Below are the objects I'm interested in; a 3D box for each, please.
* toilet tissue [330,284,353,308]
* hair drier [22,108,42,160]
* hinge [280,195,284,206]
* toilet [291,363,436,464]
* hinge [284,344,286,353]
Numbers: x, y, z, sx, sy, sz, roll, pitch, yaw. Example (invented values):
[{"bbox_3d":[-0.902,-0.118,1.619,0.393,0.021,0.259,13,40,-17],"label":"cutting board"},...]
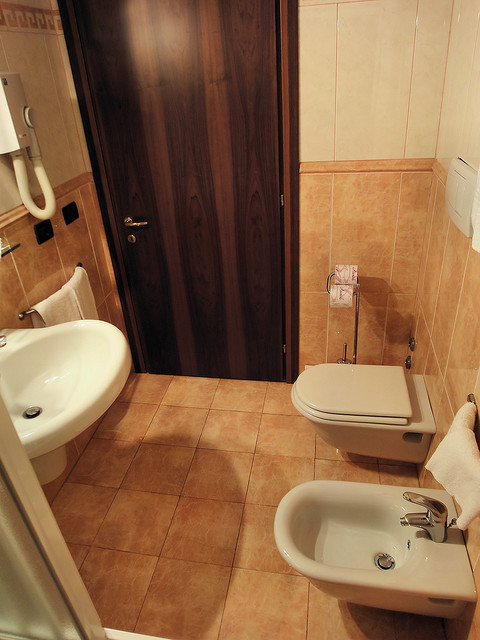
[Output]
[{"bbox_3d":[0.454,-0.102,1.963,0.095,0.127,0.065,1,27,9],"label":"toilet tissue"},{"bbox_3d":[-0.733,-0.655,1.543,0.052,0.174,0.116,-15,30,-22],"label":"hair drier"},{"bbox_3d":[0.194,-0.545,1.995,0.014,0.049,0.005,-5,25,-4],"label":"hinge"},{"bbox_3d":[0.482,0.392,1.769,0.533,0.303,0.324,0,30,9],"label":"toilet"},{"bbox_3d":[0.245,0.155,2.362,0.008,0.053,0.005,6,27,19],"label":"hinge"}]
